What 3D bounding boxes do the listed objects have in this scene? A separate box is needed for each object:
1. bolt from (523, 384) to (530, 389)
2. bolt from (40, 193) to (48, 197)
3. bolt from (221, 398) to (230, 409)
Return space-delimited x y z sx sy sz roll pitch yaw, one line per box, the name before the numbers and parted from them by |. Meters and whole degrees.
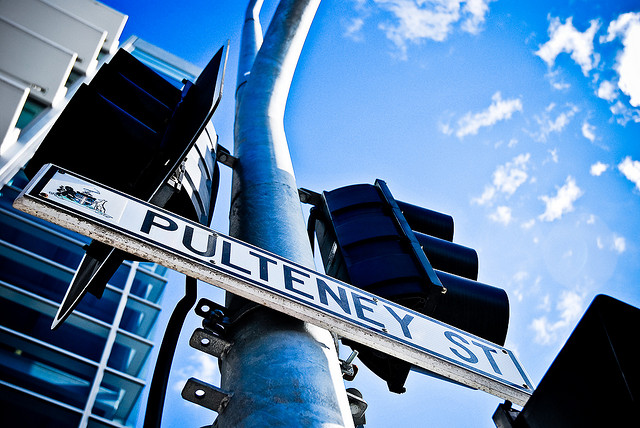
bolt | 2.472 2.059 6.022 0.073 0.035 0.018 38 -28 3
bolt | -3.054 -0.225 5.595 0.058 0.029 0.013 12 -43 -11
bolt | -1.048 2.101 5.614 0.031 0.075 0.107 28 -92 -9
